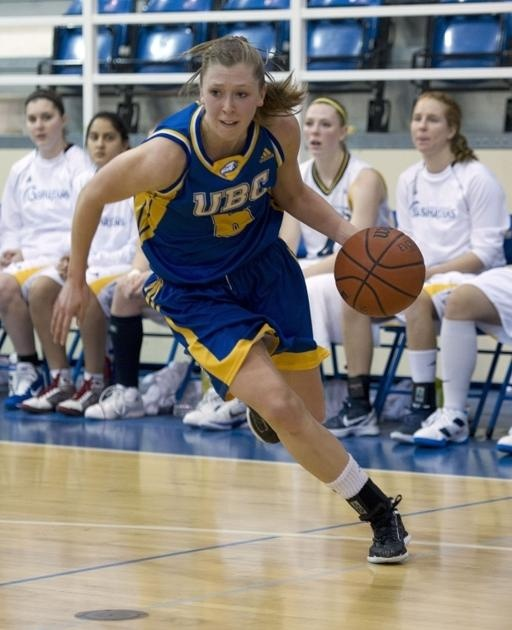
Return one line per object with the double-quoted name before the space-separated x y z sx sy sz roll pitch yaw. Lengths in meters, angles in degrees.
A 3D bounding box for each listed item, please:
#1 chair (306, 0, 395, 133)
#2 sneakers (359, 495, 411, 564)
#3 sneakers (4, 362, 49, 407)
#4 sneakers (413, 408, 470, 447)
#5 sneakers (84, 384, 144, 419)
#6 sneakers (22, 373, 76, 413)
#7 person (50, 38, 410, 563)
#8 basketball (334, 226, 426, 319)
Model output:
"chair" 0.632 -1.722 5.093 0.797 1.117 0.764 0 6 5
"sneakers" 0.308 0.510 1.645 0.063 0.083 0.173 -10 -1 14
"sneakers" -1.322 0.379 3.952 0.138 0.180 0.417 -3 9 9
"sneakers" 0.812 0.495 3.061 0.292 0.133 0.120 5 -11 -39
"sneakers" -0.724 0.435 3.613 0.283 0.165 0.151 3 -3 -7
"sneakers" -1.155 0.400 3.856 0.355 0.239 0.135 -7 10 -20
"person" -0.064 -0.048 1.724 0.834 1.221 0.486 0 0 -18
"basketball" 0.337 -0.141 1.987 0.237 0.238 0.130 -35 5 5
